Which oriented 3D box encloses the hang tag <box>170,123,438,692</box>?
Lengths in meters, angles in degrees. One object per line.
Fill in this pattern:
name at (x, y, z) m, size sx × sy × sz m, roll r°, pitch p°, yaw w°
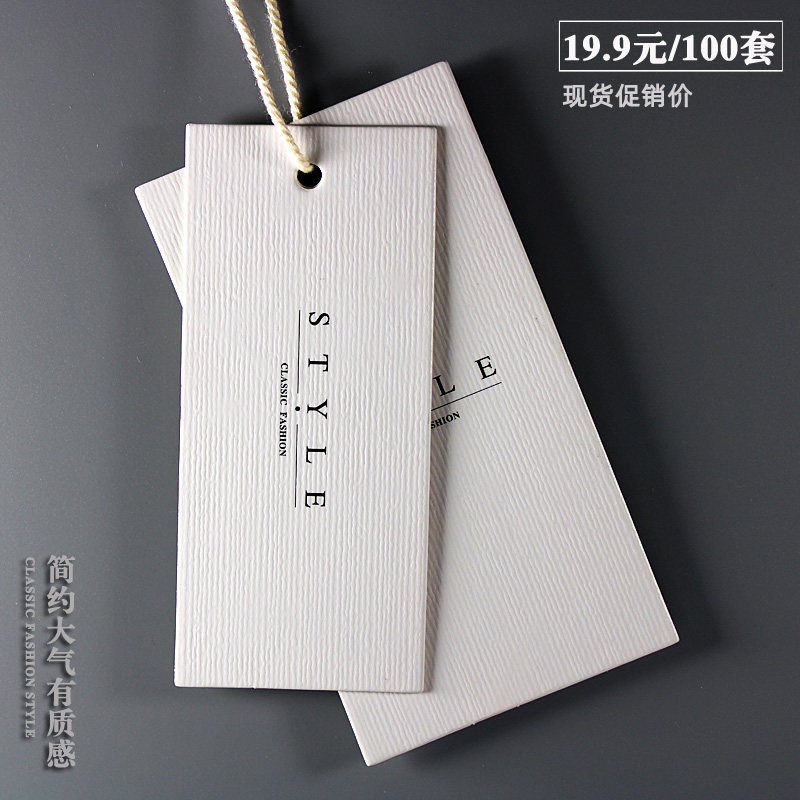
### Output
hang tag at (-0.062, -0.002, 0.700) m, size 0.172 × 0.014 × 0.396 m, roll -1°, pitch 87°, yaw 9°
